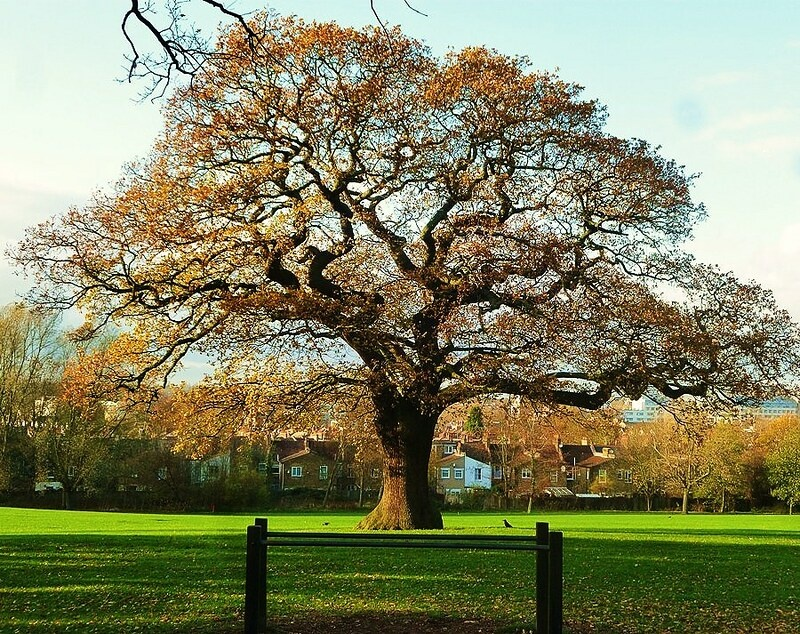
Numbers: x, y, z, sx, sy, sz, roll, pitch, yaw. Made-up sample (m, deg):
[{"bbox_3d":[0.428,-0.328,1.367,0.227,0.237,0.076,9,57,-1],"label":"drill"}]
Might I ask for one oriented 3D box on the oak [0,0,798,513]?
[{"bbox_3d":[0.308,-2.459,40.688,16.474,10.671,17.243,1,-2,-1],"label":"oak"}]
